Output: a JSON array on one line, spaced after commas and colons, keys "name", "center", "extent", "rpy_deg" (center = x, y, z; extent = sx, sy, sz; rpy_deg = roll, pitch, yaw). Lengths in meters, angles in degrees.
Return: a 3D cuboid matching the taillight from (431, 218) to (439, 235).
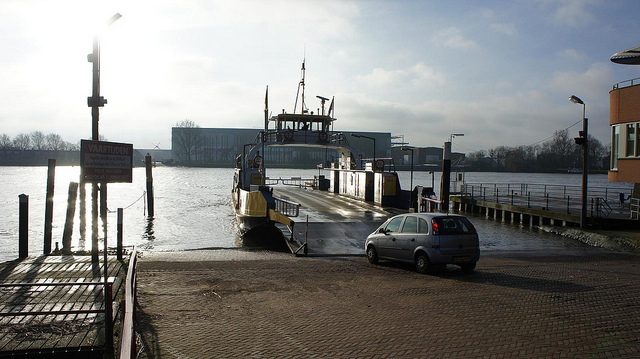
[{"name": "taillight", "center": [4.634, 1.904, 21.272], "extent": [0.264, 0.552, 0.294], "rpy_deg": [1, 11, 5]}]
